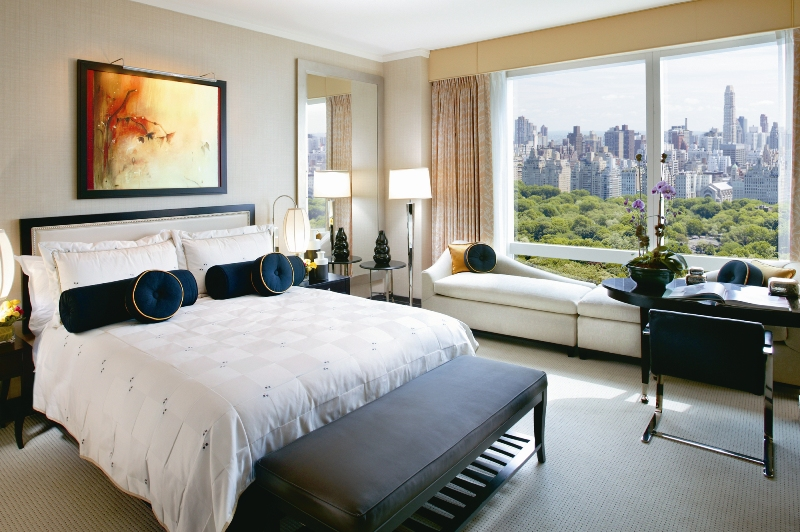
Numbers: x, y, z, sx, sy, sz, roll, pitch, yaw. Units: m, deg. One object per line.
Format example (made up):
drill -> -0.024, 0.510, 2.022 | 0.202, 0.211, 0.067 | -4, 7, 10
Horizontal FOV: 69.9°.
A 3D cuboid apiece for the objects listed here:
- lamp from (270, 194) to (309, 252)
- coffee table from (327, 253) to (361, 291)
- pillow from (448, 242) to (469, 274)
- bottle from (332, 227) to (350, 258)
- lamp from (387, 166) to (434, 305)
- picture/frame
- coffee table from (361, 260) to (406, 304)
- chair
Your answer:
lamp -> -1.166, -0.413, 6.032 | 0.394, 0.674, 0.319 | -2, 8, -15
coffee table -> -0.656, 0.061, 6.624 | 0.392, 0.464, 0.413 | 4, 8, 27
pillow -> 0.670, -0.070, 6.538 | 0.299, 0.347, 0.141 | 0, -14, -6
bottle -> -0.664, -0.245, 6.461 | 0.191, 0.340, 0.196 | 0, 9, 0
lamp -> 0.105, -0.268, 6.602 | 0.419, 1.542, 0.284 | 8, -18, -28
picture/frame -> -2.288, -1.216, 5.294 | 1.273, 1.141, 0.065 | -9, 27, -43
coffee table -> -0.201, 0.186, 6.935 | 0.498, 0.576, 0.509 | 0, 2, -1
chair -> 2.396, 0.784, 4.371 | 1.026, 1.174, 0.984 | -2, 17, 17
